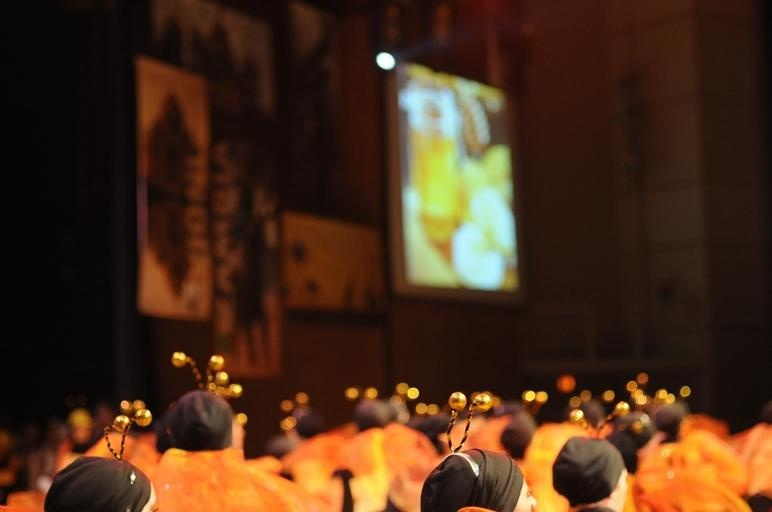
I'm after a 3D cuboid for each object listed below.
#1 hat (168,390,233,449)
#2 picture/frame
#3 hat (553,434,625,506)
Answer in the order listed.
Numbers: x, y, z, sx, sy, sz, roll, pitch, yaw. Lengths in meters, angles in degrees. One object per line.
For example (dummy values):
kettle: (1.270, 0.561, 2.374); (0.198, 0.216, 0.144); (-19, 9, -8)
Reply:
hat: (-0.438, 0.385, 1.815); (0.155, 0.156, 0.155); (-4, -5, 29)
picture/frame: (0.161, -0.159, 1.906); (0.482, 0.816, 0.073); (2, -5, -20)
hat: (0.450, 0.469, 1.772); (0.145, 0.141, 0.116); (-11, 12, -27)
